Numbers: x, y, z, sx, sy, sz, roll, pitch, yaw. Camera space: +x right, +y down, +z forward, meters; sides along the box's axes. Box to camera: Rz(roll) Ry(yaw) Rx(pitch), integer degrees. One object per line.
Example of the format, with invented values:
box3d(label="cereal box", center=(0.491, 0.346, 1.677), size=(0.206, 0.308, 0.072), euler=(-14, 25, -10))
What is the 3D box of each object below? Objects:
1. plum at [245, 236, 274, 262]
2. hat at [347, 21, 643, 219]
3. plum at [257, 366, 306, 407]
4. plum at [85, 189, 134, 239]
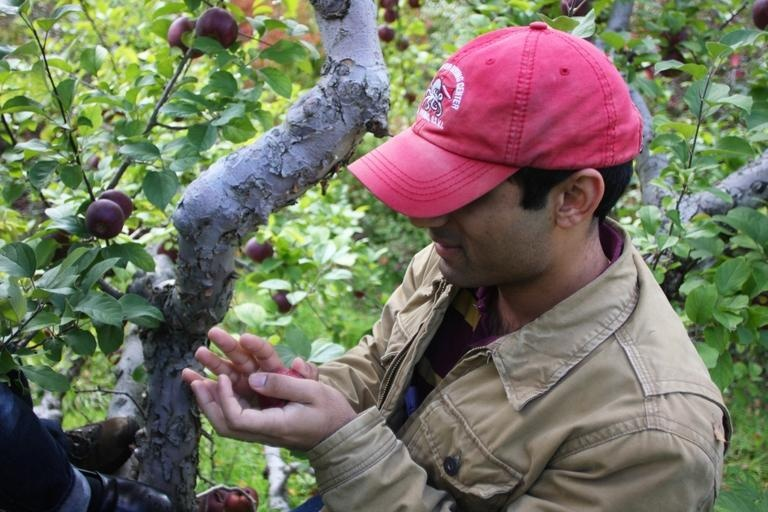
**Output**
box3d(label="plum", center=(-0.568, -0.031, 3.505), size=(0.120, 0.117, 0.100), euler=(0, 18, -39))
box3d(label="hat", center=(0.349, -0.384, 2.351), size=(0.834, 0.616, 0.255), euler=(8, -8, 18))
box3d(label="plum", center=(-0.336, 0.422, 2.481), size=(0.154, 0.122, 0.173), euler=(7, 14, 24))
box3d(label="plum", center=(-0.905, -0.141, 2.478), size=(0.097, 0.083, 0.147), euler=(27, 36, 3))
